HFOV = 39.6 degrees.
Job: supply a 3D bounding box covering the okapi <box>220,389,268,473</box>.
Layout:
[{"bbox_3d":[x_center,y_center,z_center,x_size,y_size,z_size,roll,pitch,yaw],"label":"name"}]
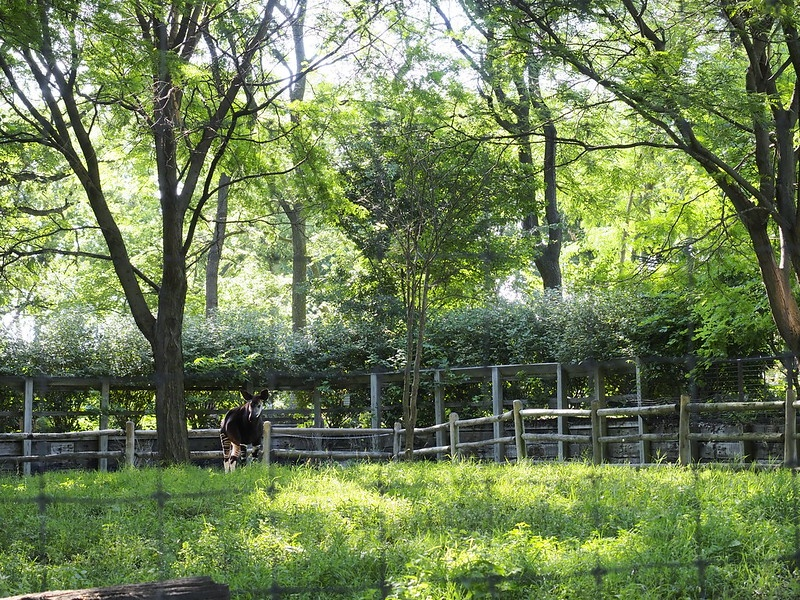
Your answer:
[{"bbox_3d":[-2.399,2.092,17.055,0.470,1.223,1.867,1,-14,-23],"label":"okapi"}]
